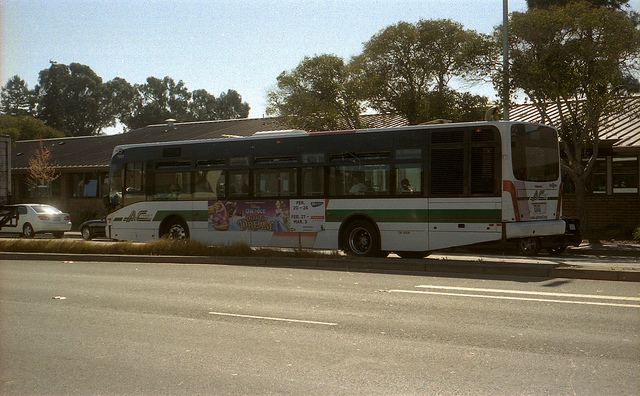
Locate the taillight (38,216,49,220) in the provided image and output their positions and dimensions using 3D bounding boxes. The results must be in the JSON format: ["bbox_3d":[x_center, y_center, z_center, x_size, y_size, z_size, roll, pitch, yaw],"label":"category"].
[{"bbox_3d":[-15.530,1.095,33.846,0.478,0.200,0.108,-4,8,-26],"label":"taillight"}]

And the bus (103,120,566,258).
[{"bbox_3d":[-0.891,-0.147,24.235,16.903,4.891,4.495,0,-1,26],"label":"bus"}]

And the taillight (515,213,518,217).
[{"bbox_3d":[6.242,0.508,19.140,0.100,0.083,0.023,-3,8,-20],"label":"taillight"}]

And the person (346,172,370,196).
[{"bbox_3d":[1.360,-0.493,21.126,0.726,0.725,0.391,-4,12,-31],"label":"person"}]

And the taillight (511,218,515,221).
[{"bbox_3d":[6.113,0.665,19.081,0.111,0.082,0.025,-1,8,-8],"label":"taillight"}]
